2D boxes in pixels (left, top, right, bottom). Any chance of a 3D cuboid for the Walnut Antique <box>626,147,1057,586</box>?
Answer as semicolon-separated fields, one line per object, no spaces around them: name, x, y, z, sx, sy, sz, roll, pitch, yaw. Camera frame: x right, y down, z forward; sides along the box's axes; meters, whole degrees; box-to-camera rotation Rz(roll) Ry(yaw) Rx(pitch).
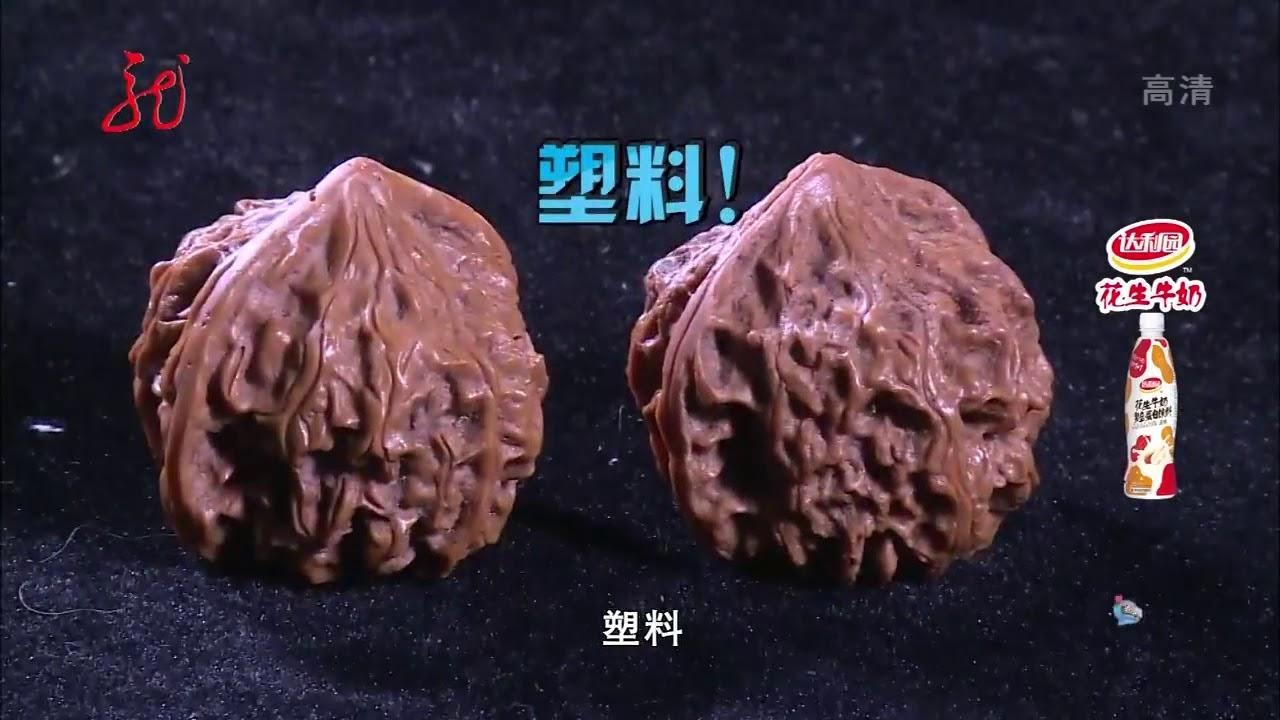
Walnut Antique;0.450;0.031;3.252;0.755;0.947;0.585;-2;-6;4
